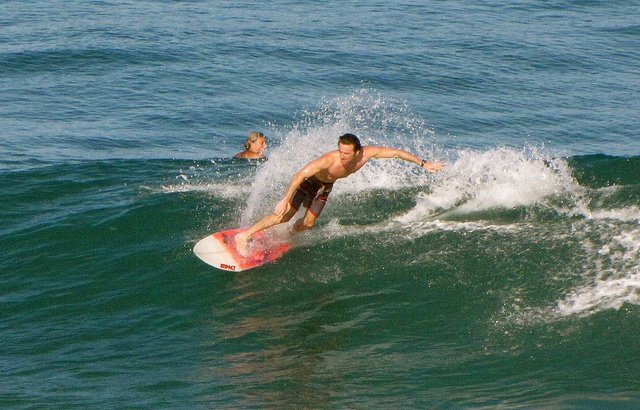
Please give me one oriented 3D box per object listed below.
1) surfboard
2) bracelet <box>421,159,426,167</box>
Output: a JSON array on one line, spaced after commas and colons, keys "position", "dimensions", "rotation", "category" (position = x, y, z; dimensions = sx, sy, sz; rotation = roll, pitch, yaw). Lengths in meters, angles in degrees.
[{"position": [-1.958, 1.085, 22.653], "dimensions": [2.062, 0.283, 1.389], "rotation": [-18, 48, -25], "category": "surfboard"}, {"position": [2.552, -1.031, 22.772], "dimensions": [0.049, 0.185, 0.136], "rotation": [34, 60, -39], "category": "bracelet"}]
